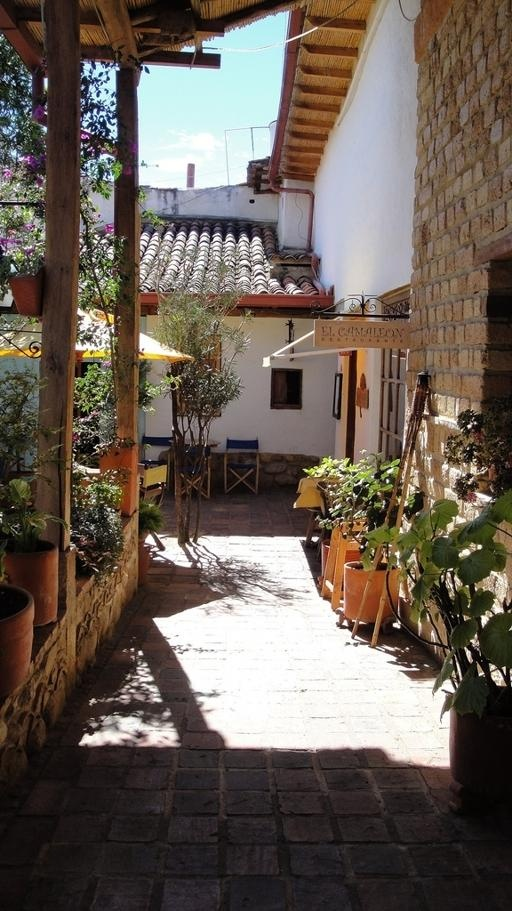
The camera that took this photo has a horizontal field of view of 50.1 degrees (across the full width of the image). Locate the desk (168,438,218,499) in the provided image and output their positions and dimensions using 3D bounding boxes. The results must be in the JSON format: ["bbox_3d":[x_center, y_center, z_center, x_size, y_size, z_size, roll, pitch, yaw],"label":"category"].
[{"bbox_3d":[-1.196,0.253,9.999,0.870,1.514,0.877,2,-1,-10],"label":"desk"}]

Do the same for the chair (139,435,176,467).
[{"bbox_3d":[-1.889,-0.123,10.576,0.592,0.947,0.659,1,2,-2],"label":"chair"}]

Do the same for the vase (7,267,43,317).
[{"bbox_3d":[-1.127,-0.796,2.721,0.209,0.296,0.191,-7,14,-26],"label":"vase"}]

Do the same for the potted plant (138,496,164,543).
[{"bbox_3d":[-1.067,0.600,5.376,0.287,0.373,0.304,4,-11,-16],"label":"potted plant"}]

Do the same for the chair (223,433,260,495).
[{"bbox_3d":[-0.275,0.201,10.438,0.688,1.105,0.633,2,-6,-4],"label":"chair"}]
